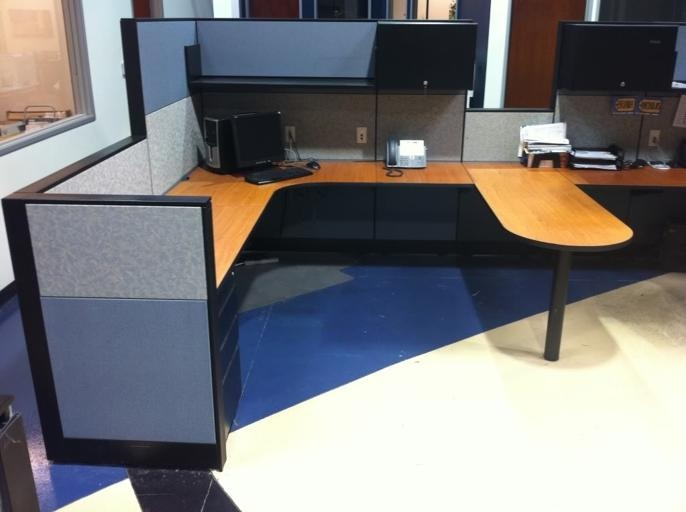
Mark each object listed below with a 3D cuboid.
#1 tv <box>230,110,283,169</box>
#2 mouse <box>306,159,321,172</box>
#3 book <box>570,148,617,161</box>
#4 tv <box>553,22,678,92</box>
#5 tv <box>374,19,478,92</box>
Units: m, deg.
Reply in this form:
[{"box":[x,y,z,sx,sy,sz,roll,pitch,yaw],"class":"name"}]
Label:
[{"box":[-0.599,-0.792,3.728,0.354,0.314,0.164,-16,25,-40],"class":"tv"},{"box":[-0.213,-0.648,3.919,0.095,0.042,0.131,-2,28,-1],"class":"mouse"},{"box":[1.777,-0.719,3.867,0.161,0.036,0.155,6,24,14],"class":"book"},{"box":[1.834,-1.282,3.769,0.871,0.528,0.460,2,19,5],"class":"tv"},{"box":[0.542,-1.299,3.569,0.638,0.404,0.177,4,24,8],"class":"tv"}]
